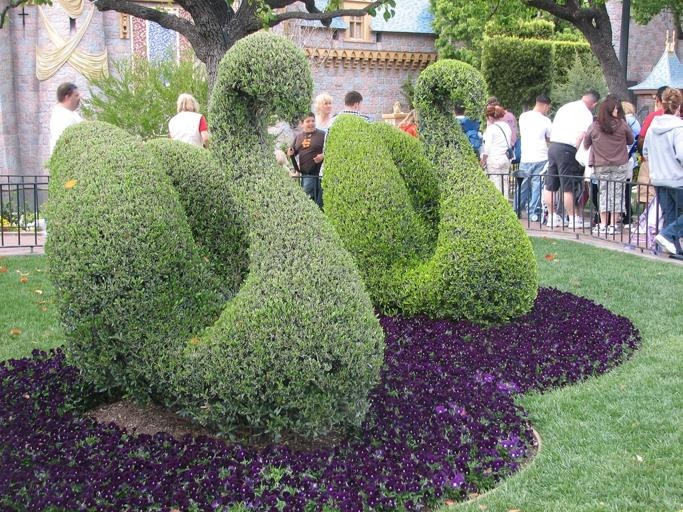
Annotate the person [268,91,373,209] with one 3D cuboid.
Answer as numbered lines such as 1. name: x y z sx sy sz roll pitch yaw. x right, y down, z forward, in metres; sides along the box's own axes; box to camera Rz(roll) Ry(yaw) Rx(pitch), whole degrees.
1. person: -0.360 -1.486 11.652 1.029 1.638 1.808 0 3 -4

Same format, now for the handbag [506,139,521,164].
1. handbag: 2.904 -1.752 14.391 0.181 0.576 0.405 12 11 5

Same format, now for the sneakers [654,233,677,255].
1. sneakers: 4.238 -0.135 11.090 0.065 0.159 0.295 -6 43 -29

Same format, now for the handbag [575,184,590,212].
1. handbag: 3.693 -0.903 13.005 0.130 0.435 0.307 13 9 24
